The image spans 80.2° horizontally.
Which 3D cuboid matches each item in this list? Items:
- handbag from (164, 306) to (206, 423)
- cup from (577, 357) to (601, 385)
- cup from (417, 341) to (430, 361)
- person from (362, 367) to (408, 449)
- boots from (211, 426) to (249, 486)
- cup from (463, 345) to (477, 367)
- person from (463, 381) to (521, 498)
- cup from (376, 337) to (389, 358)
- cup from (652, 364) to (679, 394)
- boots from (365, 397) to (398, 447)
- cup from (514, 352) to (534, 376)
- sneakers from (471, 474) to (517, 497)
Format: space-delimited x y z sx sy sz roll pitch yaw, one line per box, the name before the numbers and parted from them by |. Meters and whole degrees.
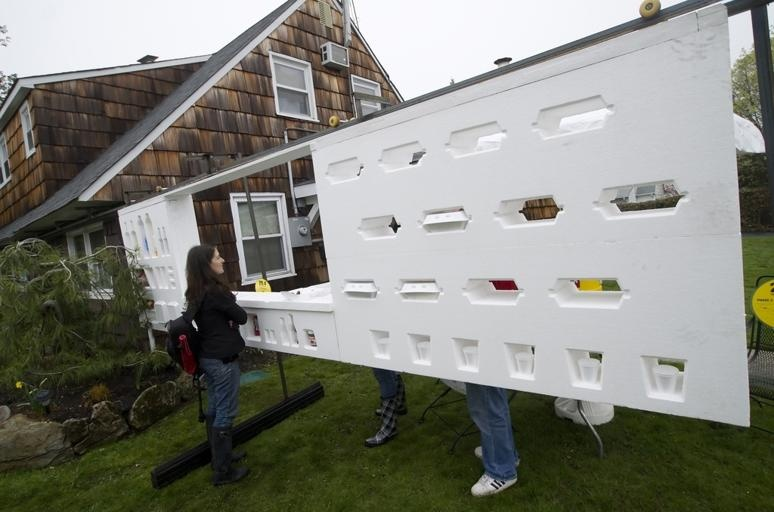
handbag | -1.964 0.887 4.458 0.272 1.023 0.242 -7 3 43
cup | 1.443 0.820 3.271 0.160 0.139 0.153 -2 3 0
cup | 0.305 0.780 3.805 0.123 0.131 0.128 2 0 0
person | -0.042 1.504 4.873 0.453 0.753 0.576 -9 2 10
boots | -1.575 1.954 4.632 0.380 0.537 0.454 -3 -7 -2
cup | 0.662 0.792 3.675 0.121 0.119 0.132 3 -7 0
person | 0.884 1.539 3.998 0.458 0.828 0.261 -9 2 1
cup | -0.036 0.790 3.984 0.105 0.160 0.111 -9 2 0
cup | 1.890 0.831 3.161 0.151 0.141 0.169 -1 6 -7
boots | -0.057 1.686 4.750 0.407 0.509 0.169 -10 19 -30
cup | 1.033 0.807 3.457 0.128 0.108 0.141 -2 4 -43
sneakers | 0.907 1.942 4.021 0.402 0.170 0.150 -8 -1 -11
